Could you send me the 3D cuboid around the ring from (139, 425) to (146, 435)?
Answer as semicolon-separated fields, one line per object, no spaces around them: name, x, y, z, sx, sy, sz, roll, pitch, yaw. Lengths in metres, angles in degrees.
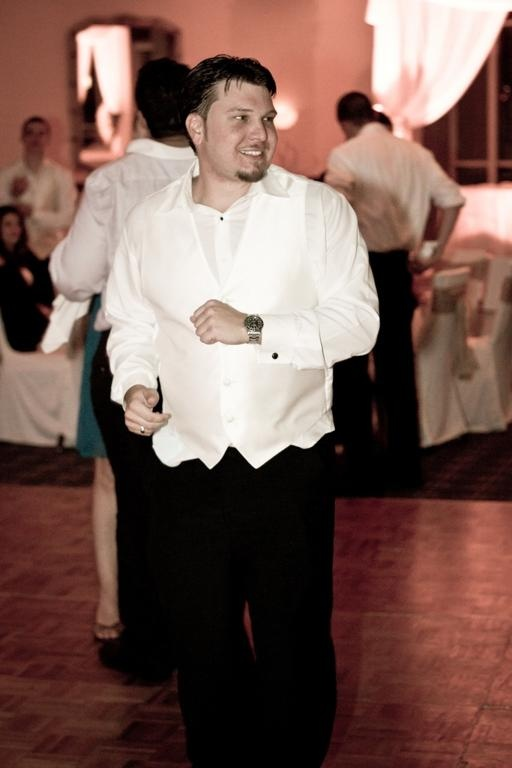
ring;-0.168;0.068;1.080;0.012;0.012;0.020;-3;-14;8

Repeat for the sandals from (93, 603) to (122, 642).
sandals;-0.459;0.722;2.185;0.064;0.108;0.041;-2;-14;5

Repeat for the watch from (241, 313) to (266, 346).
watch;-0.004;-0.076;0.987;0.025;0.037;0.038;-1;-14;-2
